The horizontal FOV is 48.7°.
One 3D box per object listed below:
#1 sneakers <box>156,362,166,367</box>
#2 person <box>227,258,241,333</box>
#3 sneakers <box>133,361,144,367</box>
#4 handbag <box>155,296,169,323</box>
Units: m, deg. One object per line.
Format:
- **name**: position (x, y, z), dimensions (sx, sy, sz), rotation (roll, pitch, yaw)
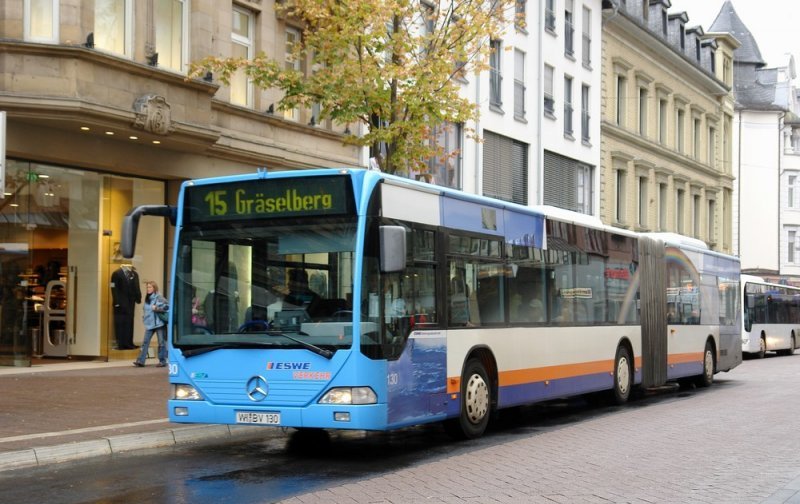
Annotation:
- **sneakers**: position (-6.338, 3.026, 23.594), dimensions (0.100, 0.107, 0.266), rotation (-2, -10, 9)
- **person**: position (-2.639, 0.707, 14.091), dimensions (0.124, 1.077, 0.263), rotation (-1, 3, -38)
- **sneakers**: position (-6.974, 3.025, 23.693), dimensions (0.352, 0.147, 0.113), rotation (6, -9, 2)
- **handbag**: position (-6.283, 1.542, 23.323), dimensions (0.286, 0.708, 0.732), rotation (-3, 0, 6)
